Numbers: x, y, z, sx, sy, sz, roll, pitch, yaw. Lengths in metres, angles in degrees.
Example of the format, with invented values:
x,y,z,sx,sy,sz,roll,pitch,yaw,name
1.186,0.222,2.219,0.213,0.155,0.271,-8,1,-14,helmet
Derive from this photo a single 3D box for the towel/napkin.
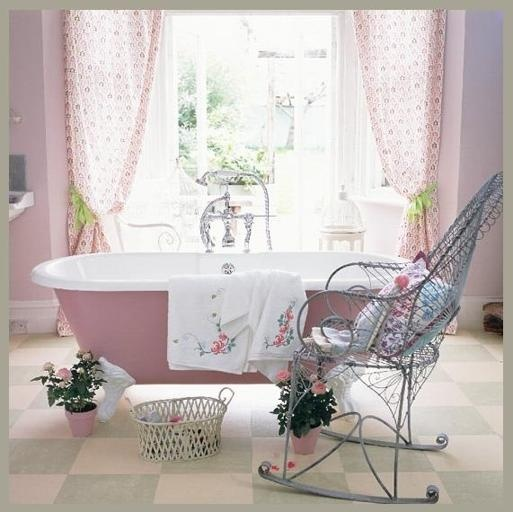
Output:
x,y,z,sx,sy,sz,roll,pitch,yaw,name
-0.078,0.299,2.212,0.487,0.426,0.087,1,1,5,towel/napkin

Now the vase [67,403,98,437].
x,y,z,sx,sy,sz,roll,pitch,yaw,name
-0.775,0.724,2.303,0.121,0.100,0.117,-1,7,-26,vase

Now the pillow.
x,y,z,sx,sy,sz,roll,pitch,yaw,name
0.564,0.184,1.910,0.437,0.329,0.286,-7,10,-43,pillow

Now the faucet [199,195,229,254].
x,y,z,sx,sy,sz,roll,pitch,yaw,name
-0.262,-0.211,3.301,0.184,0.378,0.501,-1,7,-5,faucet

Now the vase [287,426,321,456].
x,y,z,sx,sy,sz,roll,pitch,yaw,name
0.205,0.764,2.155,0.113,0.090,0.114,6,10,30,vase

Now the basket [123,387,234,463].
x,y,z,sx,sy,sz,roll,pitch,yaw,name
-0.317,0.710,2.182,0.393,0.240,0.275,0,3,-9,basket

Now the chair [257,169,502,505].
x,y,z,sx,sy,sz,roll,pitch,yaw,name
0.413,0.226,2.611,1.239,1.741,1.048,3,4,13,chair

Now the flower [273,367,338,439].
x,y,z,sx,sy,sz,roll,pitch,yaw,name
0.199,0.603,2.072,0.273,0.256,0.254,1,-2,-7,flower
